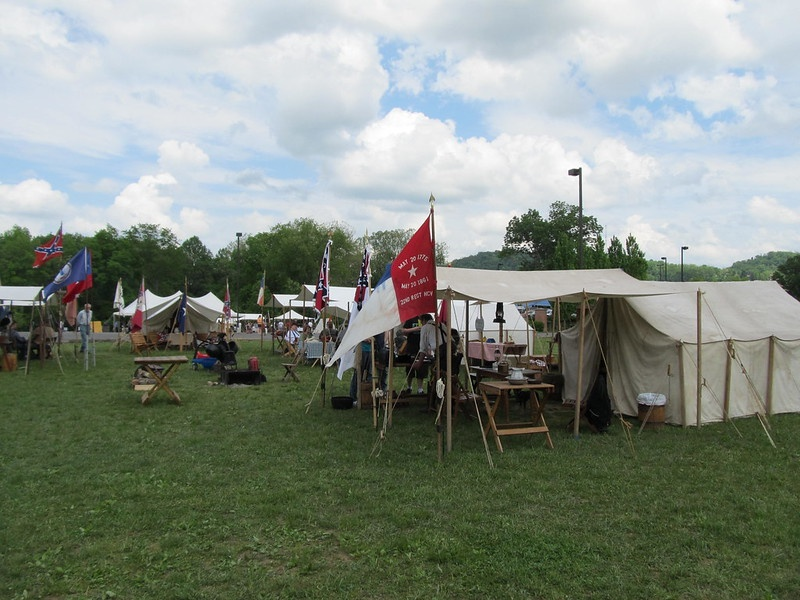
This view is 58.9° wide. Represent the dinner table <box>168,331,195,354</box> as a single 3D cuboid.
[{"bbox_3d":[-8.463,1.675,27.451,0.759,0.661,0.783,1,-4,-20],"label":"dinner table"}]

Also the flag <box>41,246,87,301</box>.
[{"bbox_3d":[-8.957,-0.619,19.185,0.862,1.444,1.807,-1,11,-7],"label":"flag"}]

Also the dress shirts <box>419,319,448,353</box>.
[{"bbox_3d":[0.610,0.696,12.933,0.594,0.639,0.325,-2,0,-39],"label":"dress shirts"}]

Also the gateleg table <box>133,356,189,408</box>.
[{"bbox_3d":[-5.262,1.765,15.581,1.235,1.138,1.347,1,-3,-20],"label":"gateleg table"}]

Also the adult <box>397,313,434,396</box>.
[{"bbox_3d":[0.410,1.130,14.429,0.540,1.721,0.578,5,10,12],"label":"adult"}]

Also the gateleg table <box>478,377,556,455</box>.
[{"bbox_3d":[2.102,2.031,12.831,1.019,1.037,0.932,2,-4,15],"label":"gateleg table"}]

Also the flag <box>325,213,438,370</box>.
[{"bbox_3d":[-0.309,-0.299,11.450,2.301,2.354,0.151,-12,14,-37],"label":"flag"}]
